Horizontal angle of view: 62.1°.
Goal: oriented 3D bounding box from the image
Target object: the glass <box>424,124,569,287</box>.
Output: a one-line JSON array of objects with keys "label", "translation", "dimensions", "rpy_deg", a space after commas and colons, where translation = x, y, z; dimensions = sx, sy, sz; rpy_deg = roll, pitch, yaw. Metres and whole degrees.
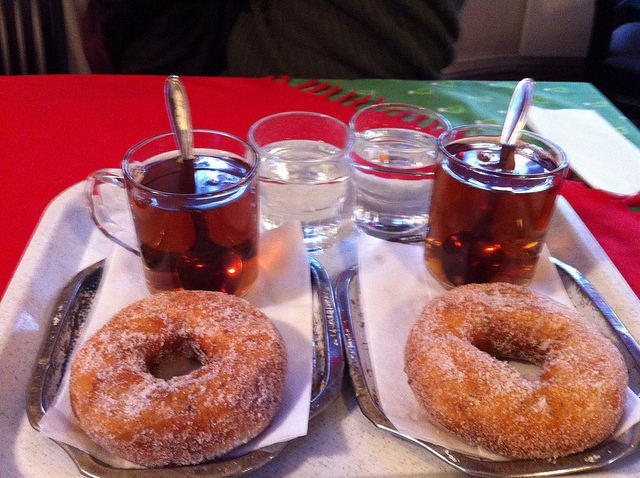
[{"label": "glass", "translation": [0.373, -0.070, 1.174], "dimensions": [0.269, 0.278, 0.253], "rpy_deg": [-5, 30, -12]}]

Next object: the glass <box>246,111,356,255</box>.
[{"label": "glass", "translation": [-0.032, -0.124, 1.375], "dimensions": [0.270, 0.276, 0.279], "rpy_deg": [0, 16, -12]}]

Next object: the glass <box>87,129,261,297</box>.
[{"label": "glass", "translation": [-0.336, -0.035, 1.140], "dimensions": [0.390, 0.316, 0.237], "rpy_deg": [9, 33, 18]}]

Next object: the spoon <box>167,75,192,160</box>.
[{"label": "spoon", "translation": [-0.269, -0.231, 1.015], "dimensions": [0.035, 0.155, 0.028], "rpy_deg": [-5, -3, -12]}]

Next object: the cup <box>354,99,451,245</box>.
[{"label": "cup", "translation": [0.193, -0.150, 1.292], "dimensions": [0.247, 0.277, 0.263], "rpy_deg": [-1, 39, 1]}]

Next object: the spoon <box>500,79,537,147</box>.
[{"label": "spoon", "translation": [0.401, -0.251, 1.078], "dimensions": [0.040, 0.139, 0.095], "rpy_deg": [16, 45, 15]}]
